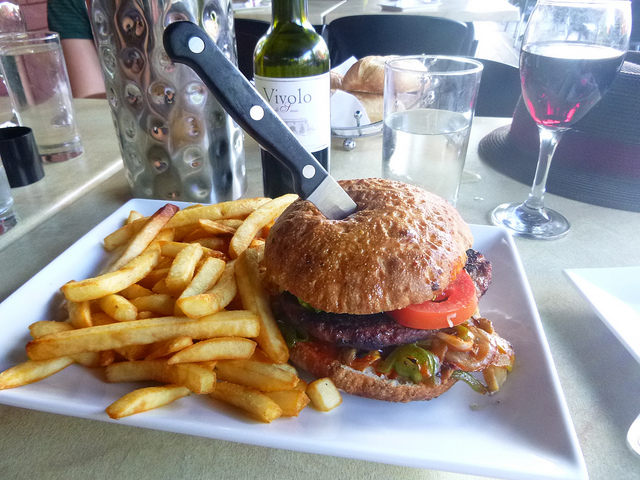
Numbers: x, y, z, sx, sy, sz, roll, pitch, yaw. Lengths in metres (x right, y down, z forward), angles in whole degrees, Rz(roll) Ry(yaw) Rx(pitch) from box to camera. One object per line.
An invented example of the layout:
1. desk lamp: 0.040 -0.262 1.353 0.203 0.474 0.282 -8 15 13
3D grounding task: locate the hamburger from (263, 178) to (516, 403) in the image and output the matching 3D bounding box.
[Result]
1. hamburger: 0.142 0.068 1.529 0.756 0.579 0.607 -7 14 -29
